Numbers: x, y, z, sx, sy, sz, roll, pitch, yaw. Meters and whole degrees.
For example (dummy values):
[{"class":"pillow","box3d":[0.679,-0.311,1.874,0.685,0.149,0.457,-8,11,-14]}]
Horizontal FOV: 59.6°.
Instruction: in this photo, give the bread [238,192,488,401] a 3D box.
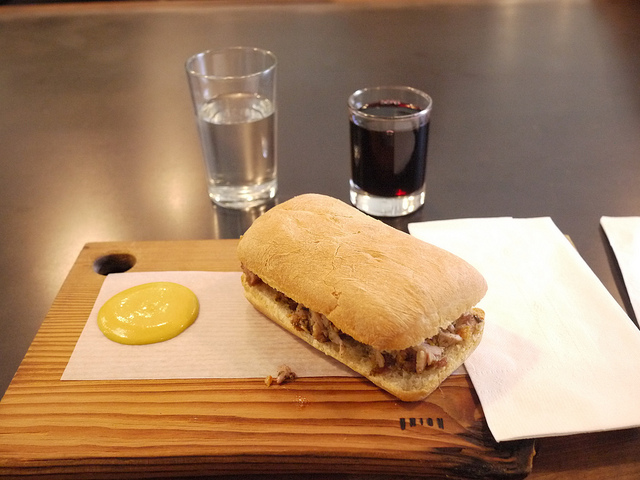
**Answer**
[{"class":"bread","box3d":[0.110,0.241,1.910,0.786,0.357,0.490,31,52,32]}]

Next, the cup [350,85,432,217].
[{"class":"cup","box3d":[0.275,-0.350,2.235,0.361,0.567,0.360,-1,30,1]}]
